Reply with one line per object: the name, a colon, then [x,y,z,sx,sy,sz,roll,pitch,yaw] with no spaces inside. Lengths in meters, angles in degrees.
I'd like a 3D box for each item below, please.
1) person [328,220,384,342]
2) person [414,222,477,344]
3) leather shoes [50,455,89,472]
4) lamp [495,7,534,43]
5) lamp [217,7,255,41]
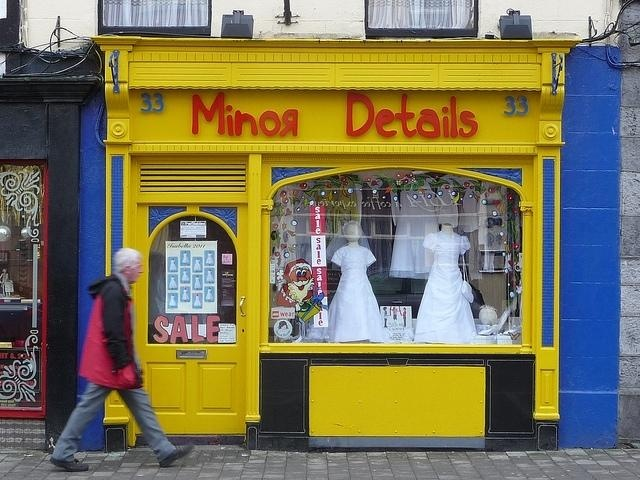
person: [0.430,0.475,15.437,0.653,1.390,0.254,-1,2,1]
person: [1.455,0.483,15.432,0.684,1.374,0.305,-1,2,6]
leather shoes: [-2.702,2.419,14.390,0.464,0.156,0.160,2,9,-13]
lamp: [2.229,-2.457,15.155,0.428,0.359,0.373,1,5,5]
lamp: [-0.940,-2.482,15.199,0.377,0.358,0.233,-1,2,-3]
